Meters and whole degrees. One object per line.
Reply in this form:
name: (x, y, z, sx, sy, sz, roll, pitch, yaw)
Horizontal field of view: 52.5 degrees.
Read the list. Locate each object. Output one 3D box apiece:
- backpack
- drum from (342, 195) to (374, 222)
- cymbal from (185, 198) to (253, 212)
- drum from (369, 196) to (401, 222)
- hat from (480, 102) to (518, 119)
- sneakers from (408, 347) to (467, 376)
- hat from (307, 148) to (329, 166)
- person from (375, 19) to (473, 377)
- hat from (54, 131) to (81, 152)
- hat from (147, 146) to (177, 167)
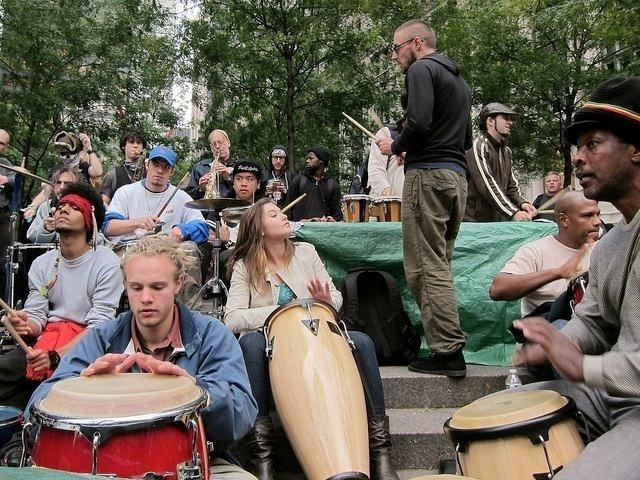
backpack: (0.510, 0.682, 5.645, 0.558, 0.717, 0.423, -18, -31, -11)
drum: (0.410, -0.332, 7.177, 0.305, 0.266, 0.306, 3, -6, -14)
cymbal: (-0.968, -0.320, 6.186, 0.591, 0.115, 0.472, -1, -4, -4)
drum: (0.679, -0.294, 6.816, 0.258, 0.218, 0.264, 0, -13, 6)
hat: (1.881, -1.371, 6.889, 0.269, 0.127, 0.205, -2, -1, 15)
sneakers: (0.964, 1.002, 5.407, 0.471, 0.291, 0.185, 0, -4, 40)
hat: (-0.019, -1.237, 9.408, 0.261, 0.184, 0.235, 19, -4, -20)
person: (0.827, -0.415, 5.560, 0.889, 2.875, 0.900, 2, -4, 17)
hat: (-3.128, -1.197, 7.974, 0.228, 0.291, 0.300, -1, -7, 3)
hat: (-1.618, -0.877, 6.691, 0.235, 0.164, 0.315, 22, -1, -19)
